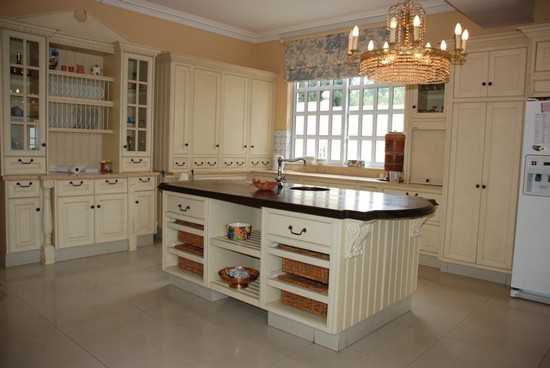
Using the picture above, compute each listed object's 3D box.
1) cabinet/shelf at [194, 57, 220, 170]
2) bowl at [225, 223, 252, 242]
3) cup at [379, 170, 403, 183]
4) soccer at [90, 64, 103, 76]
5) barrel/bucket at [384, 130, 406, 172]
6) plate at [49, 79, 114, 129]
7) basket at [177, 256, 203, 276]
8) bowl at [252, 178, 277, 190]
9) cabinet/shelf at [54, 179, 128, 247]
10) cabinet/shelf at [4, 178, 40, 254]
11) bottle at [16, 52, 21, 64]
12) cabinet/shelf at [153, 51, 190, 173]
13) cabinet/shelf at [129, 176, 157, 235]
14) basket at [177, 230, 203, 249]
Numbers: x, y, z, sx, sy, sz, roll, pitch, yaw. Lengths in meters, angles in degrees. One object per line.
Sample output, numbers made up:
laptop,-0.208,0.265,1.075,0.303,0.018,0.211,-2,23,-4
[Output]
cabinet/shelf,-1.189,-1.117,6.492,0.202,1.638,0.627,13,17,38
bowl,-0.385,0.513,4.072,0.199,0.097,0.208,0,0,0
cup,1.766,-0.106,5.821,0.290,0.116,0.185,0,0,25
soccer,-2.599,-1.665,5.629,0.164,0.156,0.179,22,30,6
barrel/bucket,1.810,-0.483,5.796,0.302,0.603,0.250,6,14,15
plate,-2.797,-1.148,5.454,0.856,0.655,0.273,-2,3,-38
basket,-0.981,0.958,4.436,0.336,0.138,0.182,7,8,35
bowl,-0.110,0.005,4.304,0.269,0.129,0.282,2,13,0
cabinet/shelf,-2.613,0.400,5.324,1.039,0.889,0.501,-2,3,-39
cabinet/shelf,-3.260,0.404,4.945,0.429,0.923,0.176,-5,15,-26
bottle,-3.237,-1.590,4.815,0.056,0.133,0.023,-6,16,-30
cabinet/shelf,-1.700,-1.148,6.193,0.624,1.876,0.552,1,13,-5
cabinet/shelf,-2.013,0.349,5.817,0.143,0.949,0.473,13,17,38
basket,-0.986,0.642,4.438,0.491,0.166,0.045,12,17,38
